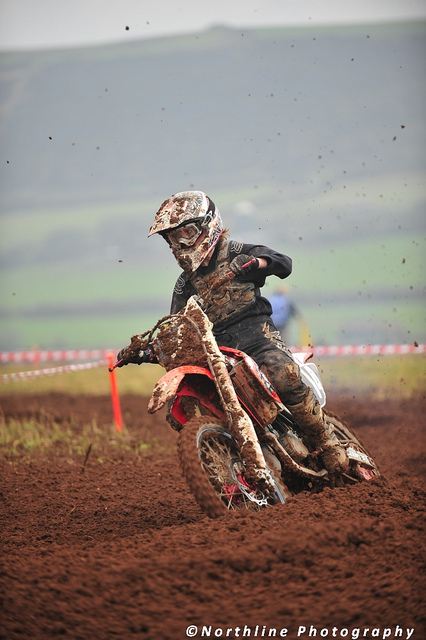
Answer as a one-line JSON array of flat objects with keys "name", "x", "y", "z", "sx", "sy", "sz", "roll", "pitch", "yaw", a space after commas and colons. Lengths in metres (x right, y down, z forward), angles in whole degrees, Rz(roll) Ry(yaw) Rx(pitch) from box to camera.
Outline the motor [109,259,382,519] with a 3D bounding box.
[{"name": "motor", "x": 0.398, "y": 0.567, "z": 4.700, "sx": 1.083, "sy": 1.512, "sz": 2.821, "roll": -31, "pitch": -15, "yaw": 18}]
